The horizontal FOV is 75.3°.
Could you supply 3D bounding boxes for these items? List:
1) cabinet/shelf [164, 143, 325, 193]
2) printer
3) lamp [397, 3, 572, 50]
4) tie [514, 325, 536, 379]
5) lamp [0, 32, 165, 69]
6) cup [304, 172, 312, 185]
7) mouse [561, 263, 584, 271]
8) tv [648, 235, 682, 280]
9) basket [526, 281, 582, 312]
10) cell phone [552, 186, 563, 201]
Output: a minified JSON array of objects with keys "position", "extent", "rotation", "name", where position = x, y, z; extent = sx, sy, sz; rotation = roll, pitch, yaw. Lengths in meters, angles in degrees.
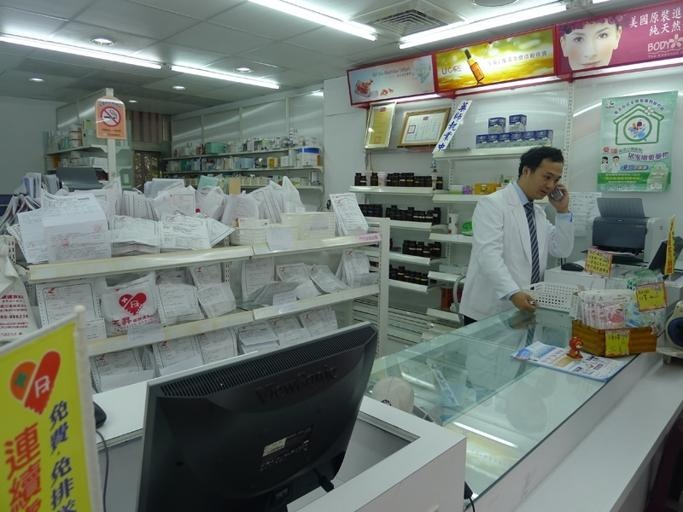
[{"position":[-1.788,-1.468,7.574],"extent":[3.811,0.688,0.480],"rotation":[8,17,42],"name":"cabinet/shelf"},{"position":[1.835,-0.211,3.009],"extent":[0.459,0.503,0.510],"rotation":[8,12,41],"name":"printer"},{"position":[1.275,-2.184,4.185],"extent":[1.580,0.075,0.341],"rotation":[5,14,34],"name":"lamp"},{"position":[0.812,0.433,1.950],"extent":[0.098,0.024,0.098],"rotation":[-40,17,42],"name":"tie"},{"position":[-3.052,-2.443,5.290],"extent":[1.654,0.187,0.532],"rotation":[-11,14,-34],"name":"lamp"},{"position":[-0.485,-1.160,6.582],"extent":[0.093,0.181,0.314],"rotation":[-6,12,-11],"name":"cup"},{"position":[1.432,0.070,2.741],"extent":[0.127,0.041,0.069],"rotation":[3,8,39],"name":"mouse"},{"position":[1.873,0.006,2.561],"extent":[0.092,0.255,0.399],"rotation":[5,8,39],"name":"tv"},{"position":[1.113,0.209,2.332],"extent":[0.108,0.142,0.284],"rotation":[-10,14,-28],"name":"basket"},{"position":[1.403,-0.410,2.866],"extent":[0.053,0.091,0.050],"rotation":[28,-27,-13],"name":"cell phone"}]
